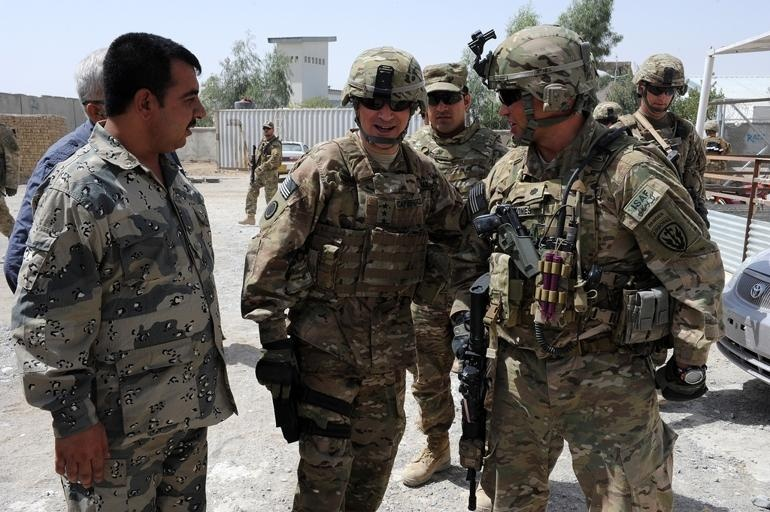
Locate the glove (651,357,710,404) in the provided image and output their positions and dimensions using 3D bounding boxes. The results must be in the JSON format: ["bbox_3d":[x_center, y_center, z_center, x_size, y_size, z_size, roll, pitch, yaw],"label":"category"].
[{"bbox_3d":[1.438,0.617,3.230,0.261,0.190,0.248,-13,-15,12],"label":"glove"}]

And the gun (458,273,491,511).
[{"bbox_3d":[0.473,0.692,3.368,0.171,1.162,0.513,3,5,15],"label":"gun"}]

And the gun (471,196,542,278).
[{"bbox_3d":[0.644,-0.082,3.382,0.251,0.200,0.684,-3,19,-9],"label":"gun"}]

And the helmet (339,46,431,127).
[{"bbox_3d":[-0.004,-1.006,3.693,0.496,0.365,0.286,-2,14,-4],"label":"helmet"}]

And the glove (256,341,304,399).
[{"bbox_3d":[-0.587,0.621,3.595,0.235,0.294,0.139,-1,1,4],"label":"glove"}]
